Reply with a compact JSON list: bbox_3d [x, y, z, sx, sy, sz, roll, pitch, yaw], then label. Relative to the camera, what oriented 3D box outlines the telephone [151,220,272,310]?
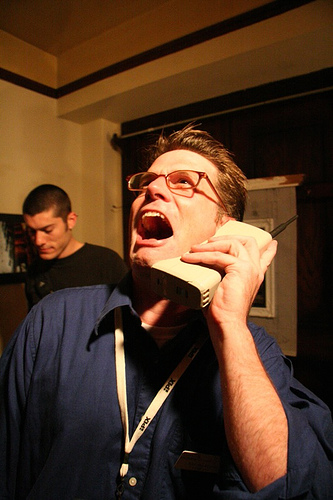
[{"bbox_3d":[0.100,0.049,0.981,0.139,0.070,0.267,17,25,38],"label":"telephone"}]

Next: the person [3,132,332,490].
[{"bbox_3d":[-0.022,0.126,1.050,0.767,0.798,0.525,-2,2,19],"label":"person"}]
